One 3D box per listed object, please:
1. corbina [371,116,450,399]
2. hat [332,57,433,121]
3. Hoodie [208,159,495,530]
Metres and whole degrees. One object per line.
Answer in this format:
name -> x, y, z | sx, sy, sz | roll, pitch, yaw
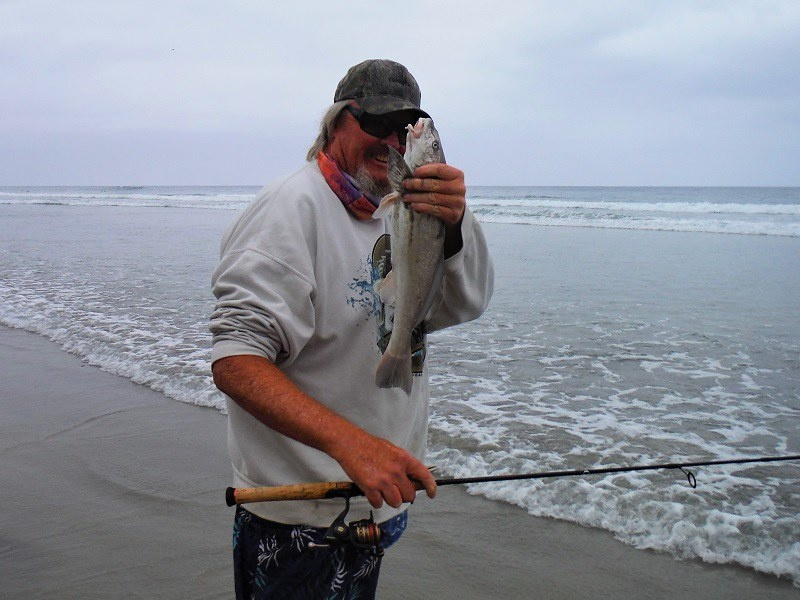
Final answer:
corbina -> 0.032, -0.232, 3.080 | 0.491, 1.309, 0.418 | 7, 9, -12
hat -> -0.094, -1.173, 3.271 | 0.465, 0.337, 0.638 | 5, 10, -31
Hoodie -> -0.330, 0.133, 3.348 | 1.028, 1.742, 1.812 | 2, 1, 40
